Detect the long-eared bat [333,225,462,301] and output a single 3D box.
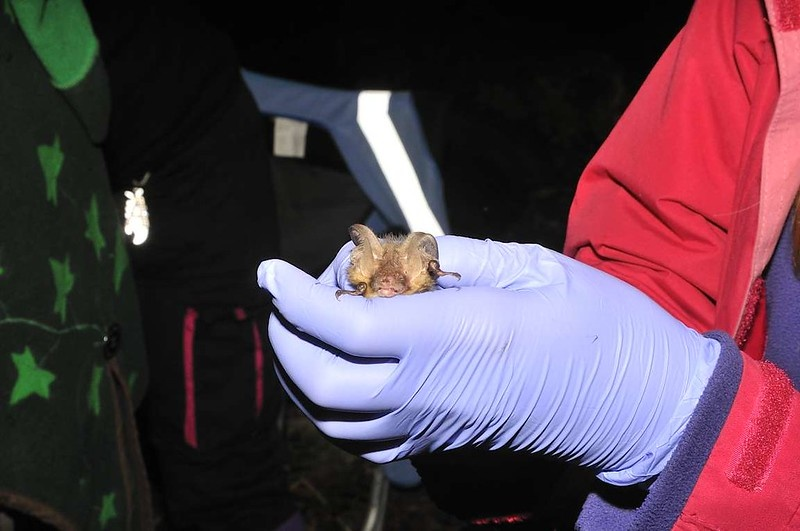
[{"bbox_3d":[-0.037,-0.004,3.657,0.374,0.192,0.387,-1,7,3],"label":"long-eared bat"}]
